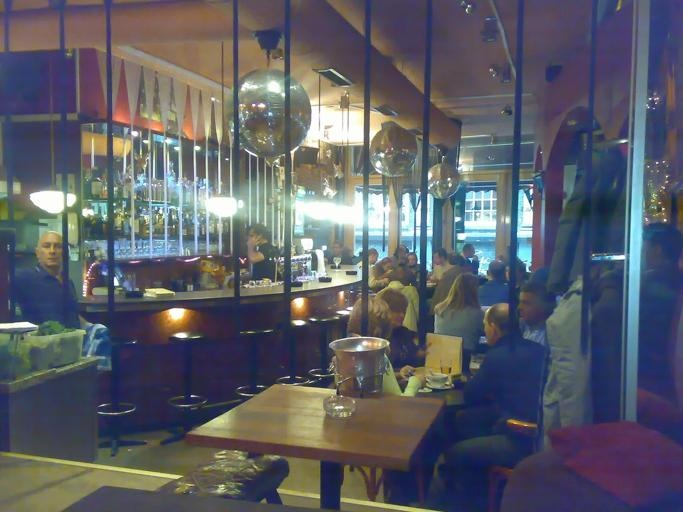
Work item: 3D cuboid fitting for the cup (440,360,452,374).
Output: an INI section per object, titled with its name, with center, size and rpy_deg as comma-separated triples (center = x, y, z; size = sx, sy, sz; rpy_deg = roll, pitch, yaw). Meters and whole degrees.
[cup]
center = 0.772, 0.819, 4.601
size = 0.065, 0.076, 0.069
rpy_deg = 1, -7, 0

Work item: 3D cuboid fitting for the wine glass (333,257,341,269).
[wine glass]
center = -0.085, 0.109, 10.958
size = 0.158, 0.304, 0.160
rpy_deg = 1, 2, 3

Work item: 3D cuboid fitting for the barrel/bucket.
[barrel/bucket]
center = 0.116, 0.596, 3.354
size = 0.291, 0.224, 0.300
rpy_deg = 0, 6, 0

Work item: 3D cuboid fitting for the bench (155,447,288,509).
[bench]
center = -0.581, 1.183, 3.362
size = 0.439, 0.283, 0.566
rpy_deg = 0, 1, 16

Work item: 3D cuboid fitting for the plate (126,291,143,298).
[plate]
center = -1.883, 0.338, 5.682
size = 0.150, 0.073, 0.084
rpy_deg = -2, 0, -20
